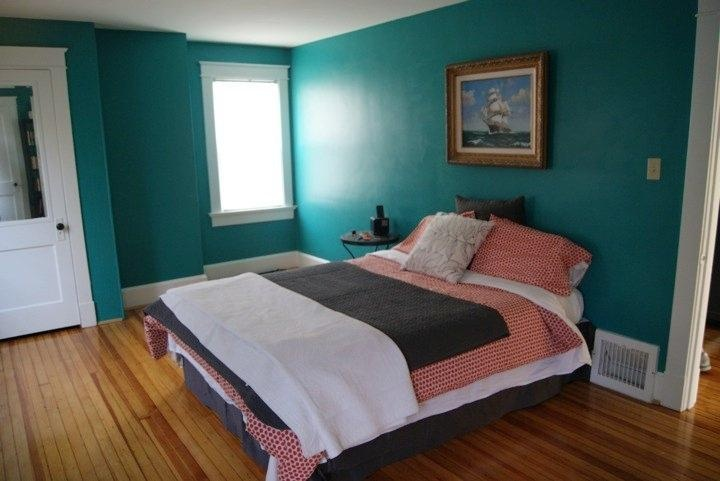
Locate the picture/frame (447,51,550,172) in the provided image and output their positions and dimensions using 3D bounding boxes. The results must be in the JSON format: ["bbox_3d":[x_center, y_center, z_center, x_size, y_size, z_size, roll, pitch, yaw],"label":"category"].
[{"bbox_3d":[1.332,-1.239,4.758,1.190,1.138,0.139,7,11,42],"label":"picture/frame"}]
